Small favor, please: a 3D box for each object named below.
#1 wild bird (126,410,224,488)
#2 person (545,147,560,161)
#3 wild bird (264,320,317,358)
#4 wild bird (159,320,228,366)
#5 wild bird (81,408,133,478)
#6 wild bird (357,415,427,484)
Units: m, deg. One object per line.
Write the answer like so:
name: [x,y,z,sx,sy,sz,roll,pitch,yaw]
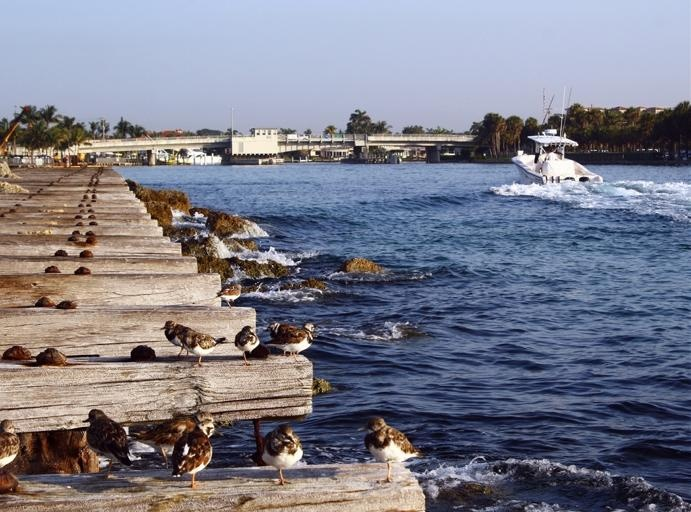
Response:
wild bird: [-1.373,1.597,8.863,0.667,0.536,0.691,-1,10,-8]
person: [14.109,-6.941,74.386,1.130,0.572,1.467,-2,-8,-6]
wild bird: [-0.577,0.820,10.557,0.634,0.238,0.300,-1,0,36]
wild bird: [-1.298,0.740,9.539,0.351,0.251,0.658,-5,11,-29]
wild bird: [-1.911,1.479,8.880,0.512,0.459,0.232,7,13,31]
wild bird: [0.348,1.682,9.694,0.435,0.441,0.362,6,12,27]
